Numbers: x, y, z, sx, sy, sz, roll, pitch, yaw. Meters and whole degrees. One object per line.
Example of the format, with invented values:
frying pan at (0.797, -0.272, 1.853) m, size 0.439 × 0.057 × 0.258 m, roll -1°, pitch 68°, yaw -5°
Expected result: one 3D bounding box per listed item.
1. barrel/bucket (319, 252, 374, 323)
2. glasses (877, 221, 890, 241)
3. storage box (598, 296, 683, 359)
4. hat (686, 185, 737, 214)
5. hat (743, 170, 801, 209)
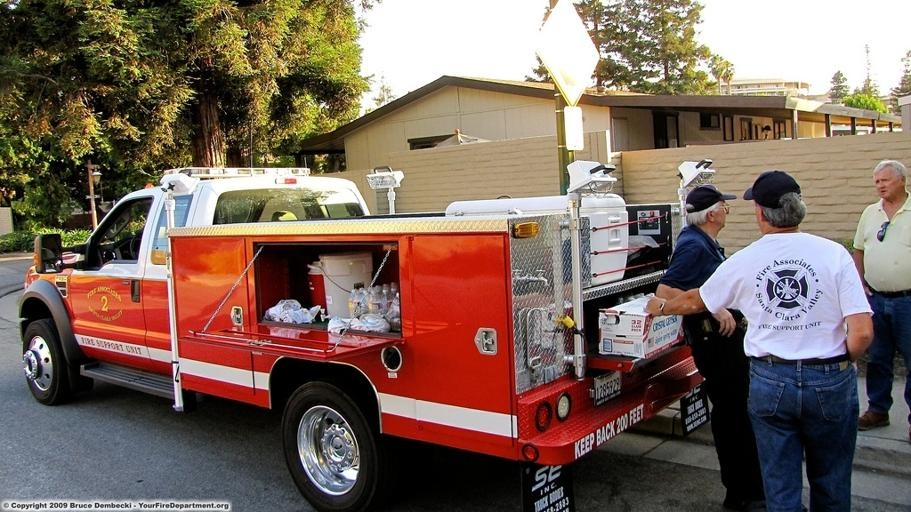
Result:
barrel/bucket at (-1.377, 0.384, 8.242) m, size 0.863 × 0.749 × 0.739 m, roll -2°, pitch 2°, yaw -20°
glasses at (5.348, -0.310, 8.402) m, size 0.133 × 0.256 × 0.056 m, roll 3°, pitch 7°, yaw 31°
storage box at (2.037, 0.794, 7.376) m, size 0.491 × 0.345 × 0.977 m, roll 1°, pitch 4°, yaw 40°
hat at (2.902, -0.677, 7.725) m, size 0.543 × 0.231 × 0.320 m, roll -11°, pitch 10°, yaw -10°
hat at (3.219, -0.693, 6.846) m, size 0.469 × 0.316 × 0.623 m, roll -4°, pitch 14°, yaw -5°
